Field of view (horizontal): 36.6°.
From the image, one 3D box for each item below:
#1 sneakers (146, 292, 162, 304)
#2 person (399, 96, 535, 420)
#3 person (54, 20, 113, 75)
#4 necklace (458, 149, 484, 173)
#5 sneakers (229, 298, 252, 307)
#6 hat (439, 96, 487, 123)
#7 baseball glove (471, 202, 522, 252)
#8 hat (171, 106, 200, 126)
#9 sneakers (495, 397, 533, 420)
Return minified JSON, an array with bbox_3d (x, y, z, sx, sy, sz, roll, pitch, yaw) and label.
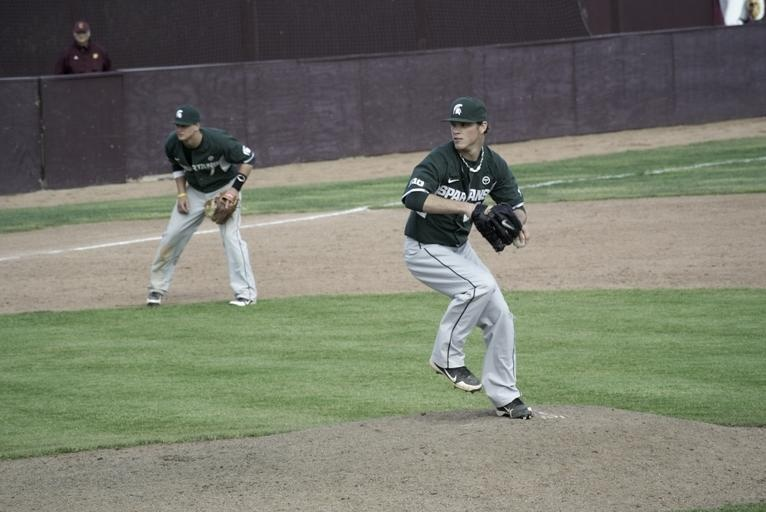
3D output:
[{"bbox_3d":[-3.057,0.598,15.505,0.107,0.116,0.269,6,-10,-13],"label":"sneakers"},{"bbox_3d":[0.896,0.017,12.466,1.315,3.394,1.075,-2,9,6],"label":"person"},{"bbox_3d":[-5.937,-4.071,22.836,0.912,0.970,1.178,-1,9,10],"label":"person"},{"bbox_3d":[0.959,-1.016,12.563,0.177,0.216,0.117,-4,1,-4],"label":"necklace"},{"bbox_3d":[-1.918,0.629,15.499,0.290,0.112,0.118,4,2,-6],"label":"sneakers"},{"bbox_3d":[0.866,-1.568,12.445,0.413,0.203,0.277,-3,11,-19],"label":"hat"},{"bbox_3d":[1.218,-0.330,12.361,0.523,0.517,0.223,-44,10,-25],"label":"baseball glove"},{"bbox_3d":[-2.552,-1.804,14.959,0.306,0.242,0.400,-4,9,-10],"label":"hat"},{"bbox_3d":[1.387,1.639,12.206,0.400,0.177,0.171,-5,-3,34],"label":"sneakers"}]
